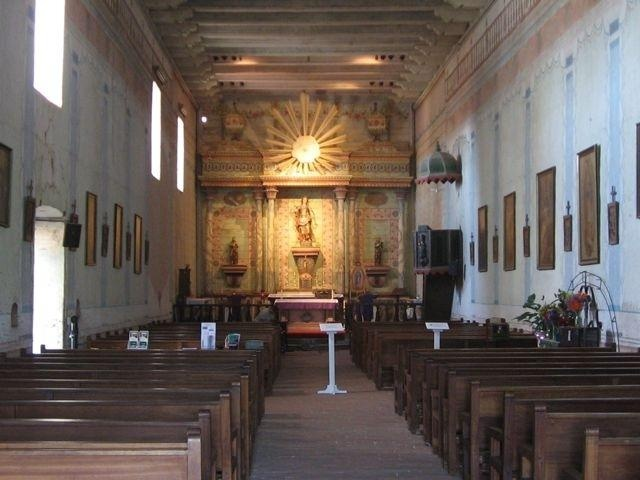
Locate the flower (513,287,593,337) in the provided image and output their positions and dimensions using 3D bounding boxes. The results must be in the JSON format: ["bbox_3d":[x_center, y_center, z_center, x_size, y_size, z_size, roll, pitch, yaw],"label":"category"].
[{"bbox_3d":[3.848,1.217,11.281,1.058,0.908,1.186,-2,2,7],"label":"flower"}]

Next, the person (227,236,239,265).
[{"bbox_3d":[-3.165,0.406,24.838,0.412,1.000,0.233,1,-5,-14],"label":"person"}]

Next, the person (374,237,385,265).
[{"bbox_3d":[2.196,0.421,25.104,0.358,1.037,0.221,-1,-4,5],"label":"person"}]

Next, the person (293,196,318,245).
[{"bbox_3d":[-0.568,-0.623,25.049,0.740,1.793,0.411,0,-4,-2],"label":"person"}]
